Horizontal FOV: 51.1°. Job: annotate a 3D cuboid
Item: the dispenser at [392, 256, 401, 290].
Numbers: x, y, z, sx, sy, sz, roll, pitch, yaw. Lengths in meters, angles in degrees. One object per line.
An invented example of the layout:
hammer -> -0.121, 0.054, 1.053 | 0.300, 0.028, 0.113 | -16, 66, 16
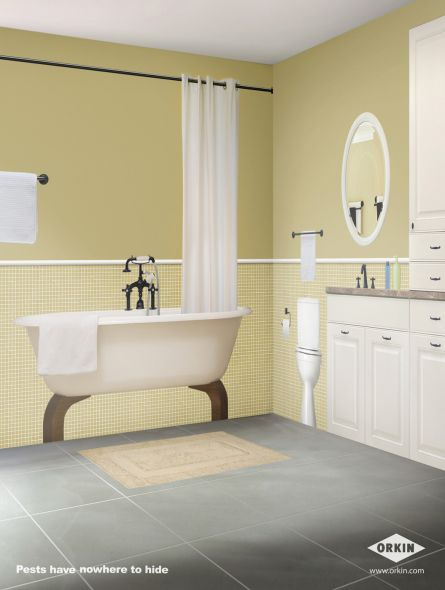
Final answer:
dispenser -> 1.023, -0.134, 2.742 | 0.046, 0.201, 0.115 | -2, -6, 20

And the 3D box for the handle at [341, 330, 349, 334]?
handle -> 0.773, 0.233, 2.948 | 0.015, 0.023, 0.070 | 1, -5, -17

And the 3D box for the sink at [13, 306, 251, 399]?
sink -> -0.431, 0.365, 2.953 | 1.254, 0.531, 0.326 | 2, -6, -27

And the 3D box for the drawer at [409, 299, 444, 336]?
drawer -> 1.038, 0.104, 2.376 | 0.132, 0.157, 0.216 | -3, 5, -32

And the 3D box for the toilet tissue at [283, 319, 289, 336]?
toilet tissue -> 0.509, 0.262, 3.761 | 0.031, 0.135, 0.090 | 1, -5, -15

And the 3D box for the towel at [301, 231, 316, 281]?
towel -> 0.645, -0.298, 3.526 | 0.180, 0.392, 0.010 | 7, -13, -35

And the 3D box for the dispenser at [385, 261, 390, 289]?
dispenser -> 0.994, -0.124, 2.815 | 0.030, 0.166, 0.077 | -2, -5, 18

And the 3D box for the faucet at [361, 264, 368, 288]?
faucet -> 0.908, -0.127, 2.989 | 0.036, 0.149, 0.053 | -2, -5, 18

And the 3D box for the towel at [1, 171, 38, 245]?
towel -> -1.313, -0.560, 2.990 | 0.212, 0.446, 0.085 | 2, -6, -26

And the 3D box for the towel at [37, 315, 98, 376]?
towel -> -0.865, 0.277, 2.604 | 0.308, 0.317, 0.078 | 2, -6, -25

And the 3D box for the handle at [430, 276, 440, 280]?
handle -> 1.129, -0.091, 2.485 | 0.013, 0.020, 0.068 | 1, -5, -17

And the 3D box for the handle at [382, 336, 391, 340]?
handle -> 0.925, 0.243, 2.624 | 0.016, 0.020, 0.058 | 1, -5, -20

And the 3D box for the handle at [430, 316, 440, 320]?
handle -> 1.059, 0.117, 2.324 | 0.013, 0.013, 0.054 | 1, -5, -16
